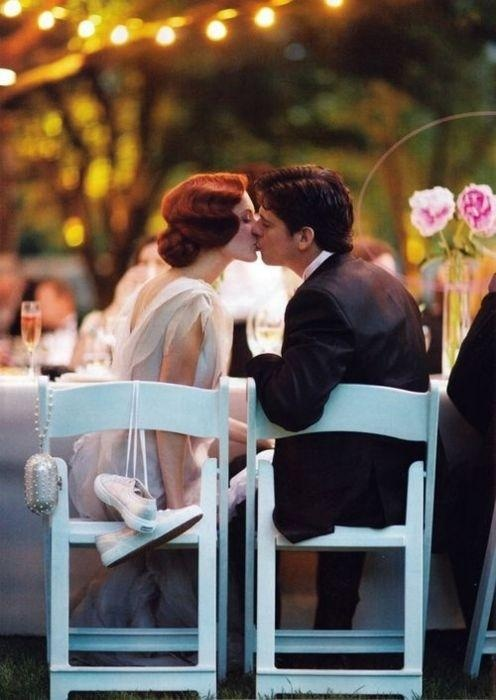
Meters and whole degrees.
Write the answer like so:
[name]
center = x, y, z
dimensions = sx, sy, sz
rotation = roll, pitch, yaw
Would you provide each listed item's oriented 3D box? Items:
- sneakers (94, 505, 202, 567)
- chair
[sneakers]
center = -0.225, 0.407, 2.128
dimensions = 0.243, 0.097, 0.084
rotation = -27, -27, -4
[chair]
center = -0.041, 0.431, 2.233
dimensions = 0.737, 0.594, 0.285
rotation = 0, -2, -3
